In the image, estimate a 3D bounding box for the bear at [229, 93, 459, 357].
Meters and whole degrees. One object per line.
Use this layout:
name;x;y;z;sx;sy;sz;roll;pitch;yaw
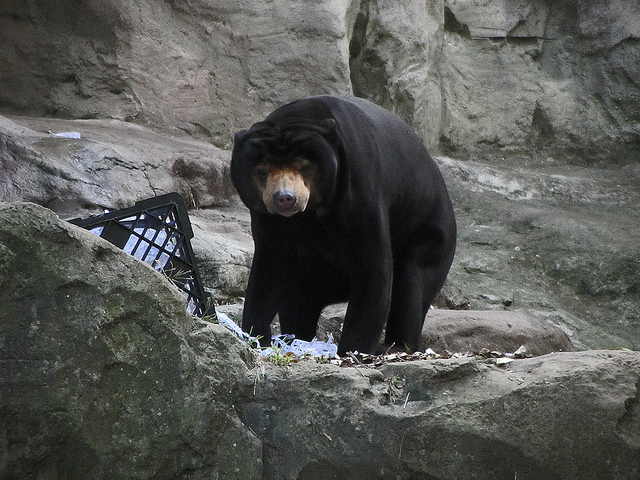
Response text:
bear;0.196;-0.081;4.069;0.999;1.638;1.847;4;-2;31
